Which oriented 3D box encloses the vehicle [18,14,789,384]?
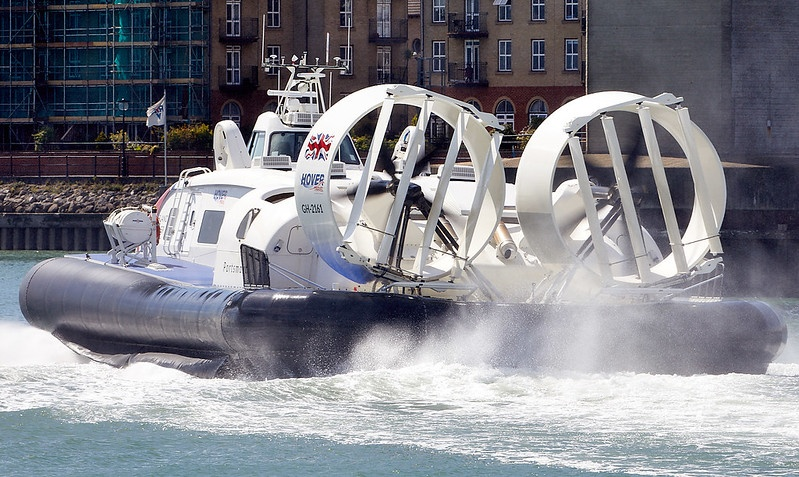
[{"bbox_3d":[-1.298,-0.488,36.023,8.818,4.887,12.122,2,-1,-35],"label":"vehicle"}]
